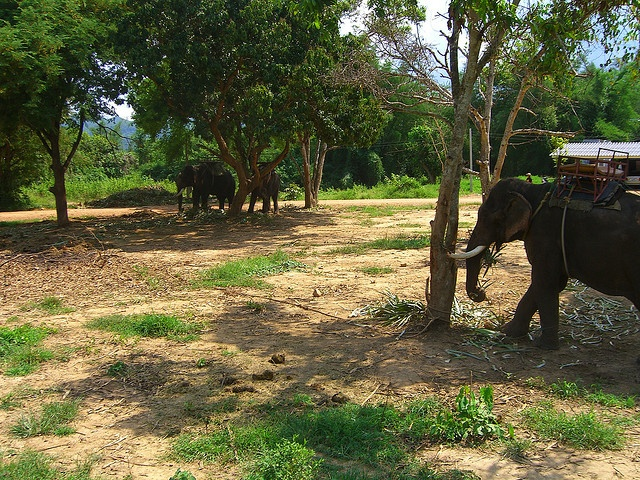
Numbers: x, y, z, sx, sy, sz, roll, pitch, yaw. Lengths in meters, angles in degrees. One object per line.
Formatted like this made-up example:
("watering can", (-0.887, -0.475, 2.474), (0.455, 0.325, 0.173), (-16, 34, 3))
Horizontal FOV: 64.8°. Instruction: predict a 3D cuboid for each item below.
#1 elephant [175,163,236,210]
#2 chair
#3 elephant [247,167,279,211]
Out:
("elephant", (-4.954, -2.482, 22.538), (2.334, 2.155, 1.457), (-6, 12, -39))
("chair", (3.477, -0.900, 6.447), (0.540, 0.487, 0.690), (-2, 12, -38))
("elephant", (-2.541, -2.315, 23.260), (1.207, 2.005, 2.829), (3, 9, 4))
